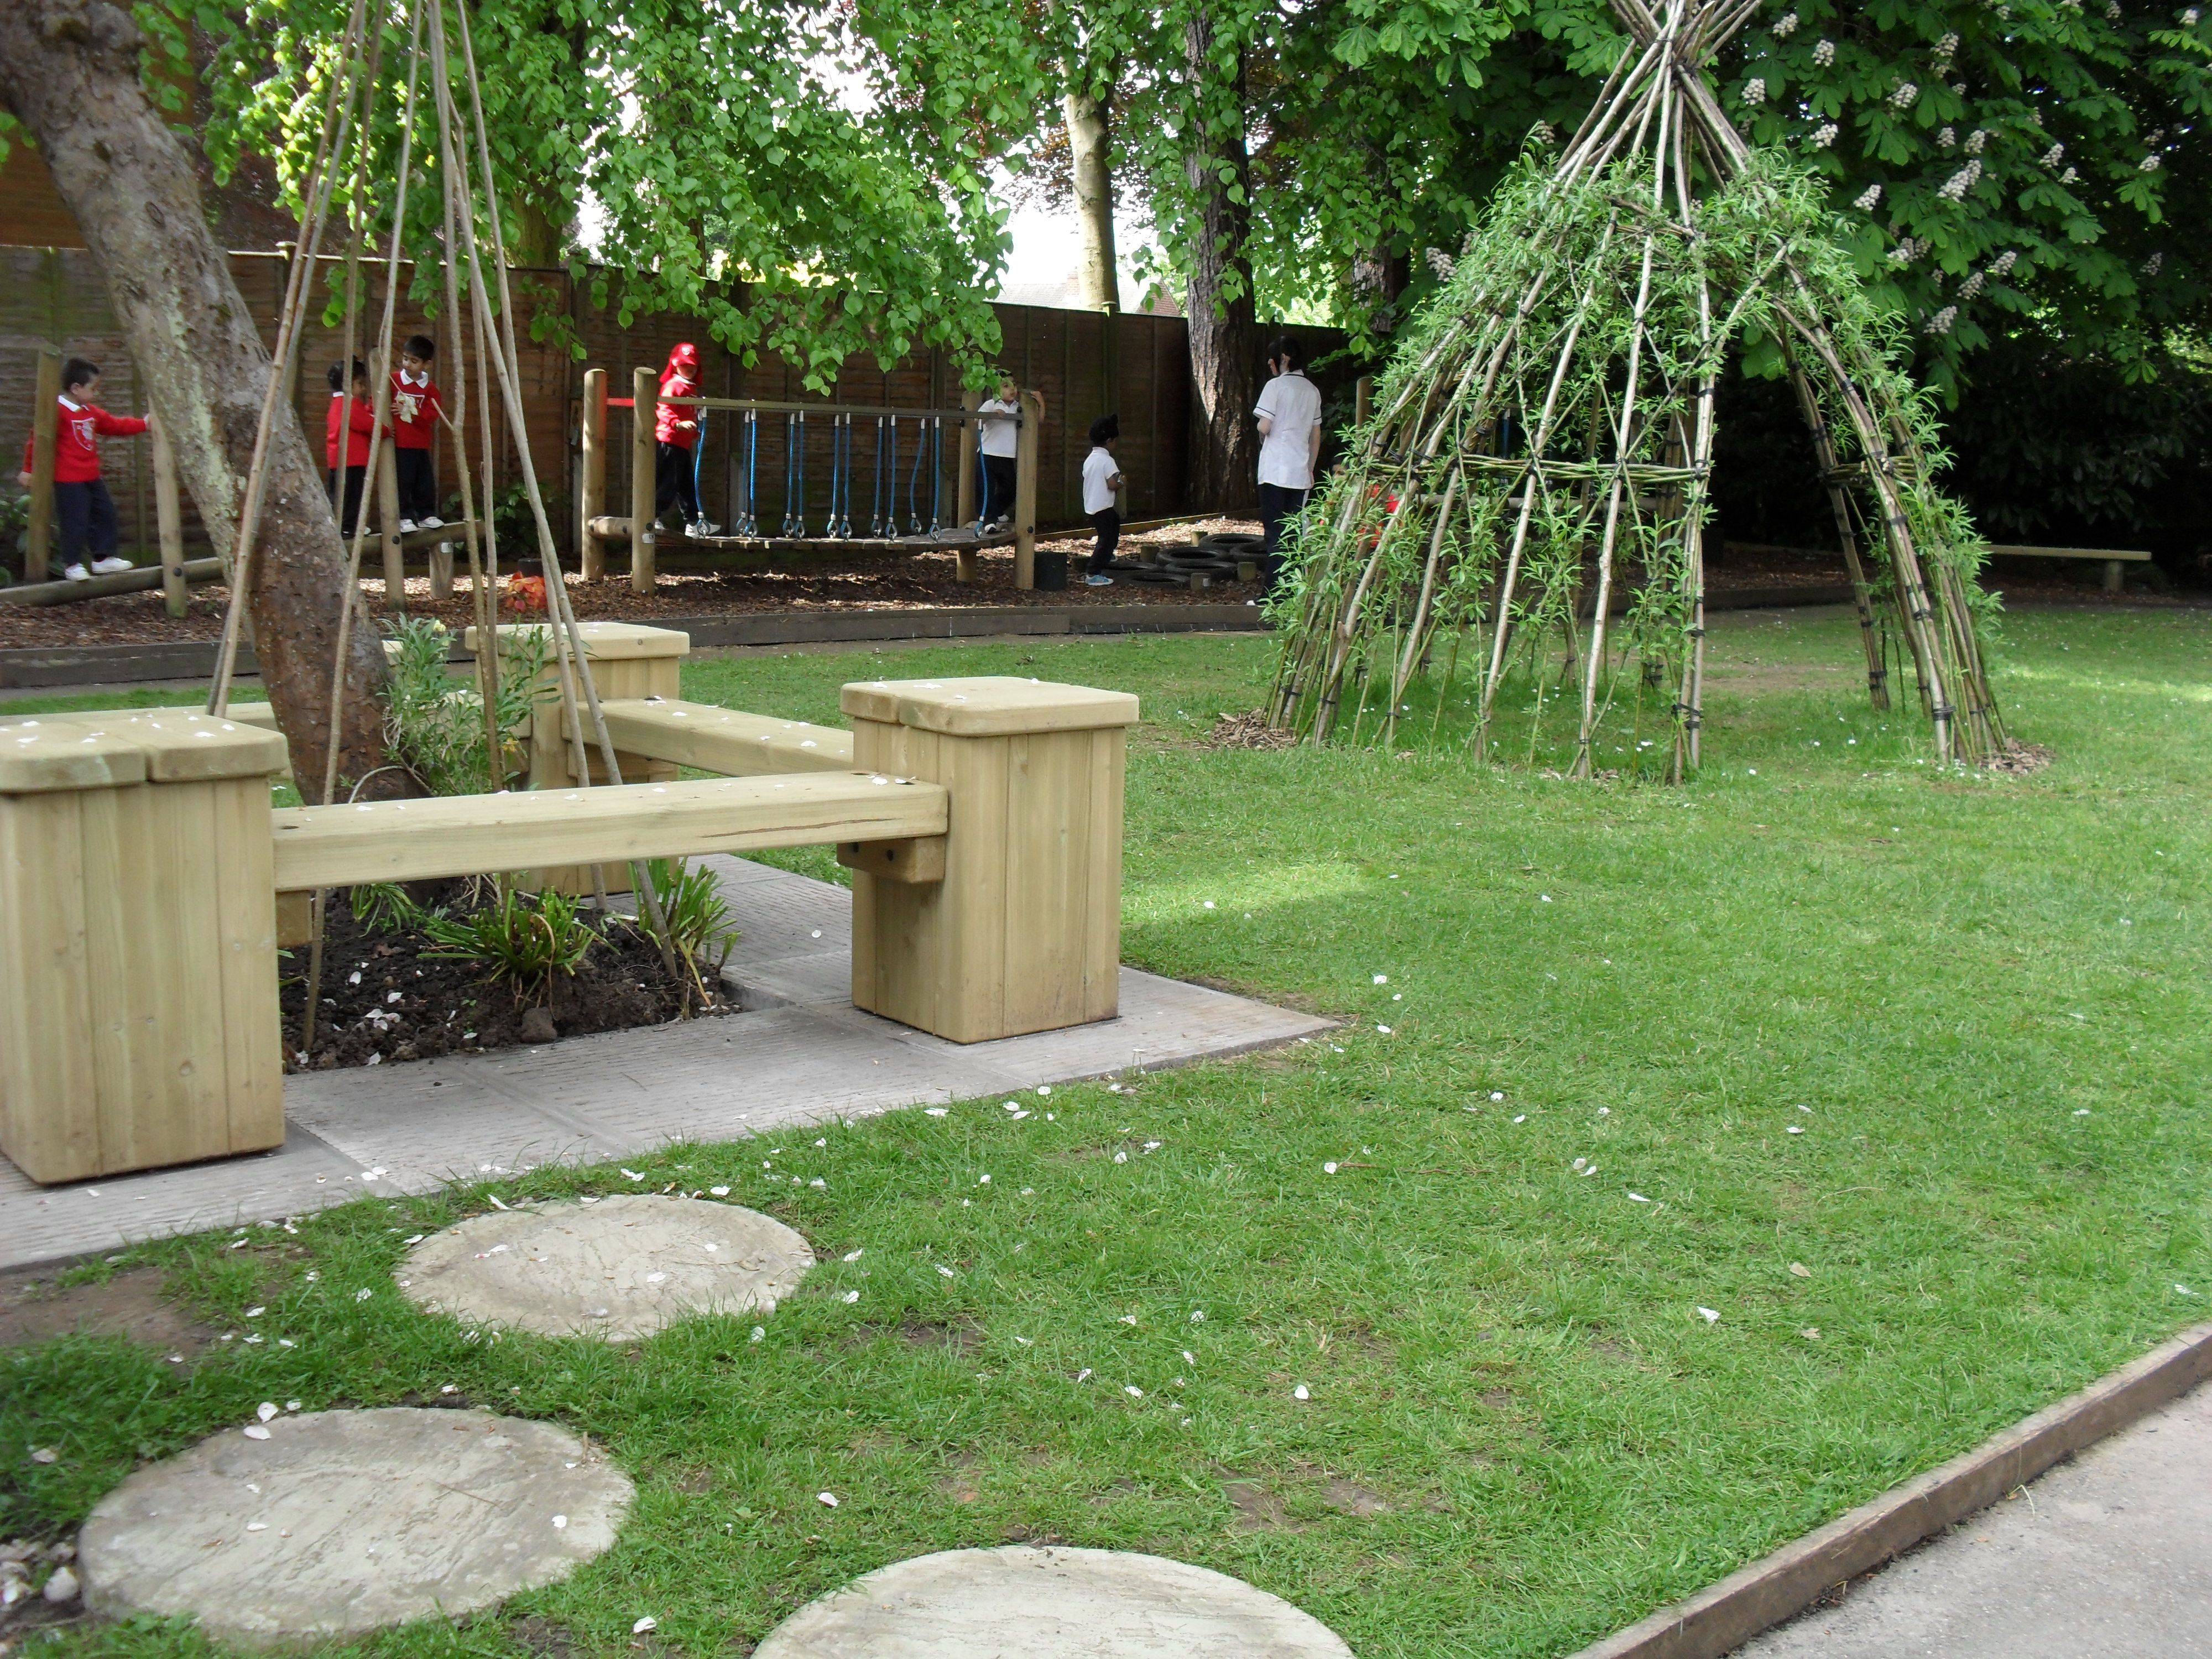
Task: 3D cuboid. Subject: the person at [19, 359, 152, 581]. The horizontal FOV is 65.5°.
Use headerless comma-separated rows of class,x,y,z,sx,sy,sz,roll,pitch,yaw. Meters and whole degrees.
person,-8.320,-2.961,14.047,0.772,1.820,0.986,-1,8,-13
